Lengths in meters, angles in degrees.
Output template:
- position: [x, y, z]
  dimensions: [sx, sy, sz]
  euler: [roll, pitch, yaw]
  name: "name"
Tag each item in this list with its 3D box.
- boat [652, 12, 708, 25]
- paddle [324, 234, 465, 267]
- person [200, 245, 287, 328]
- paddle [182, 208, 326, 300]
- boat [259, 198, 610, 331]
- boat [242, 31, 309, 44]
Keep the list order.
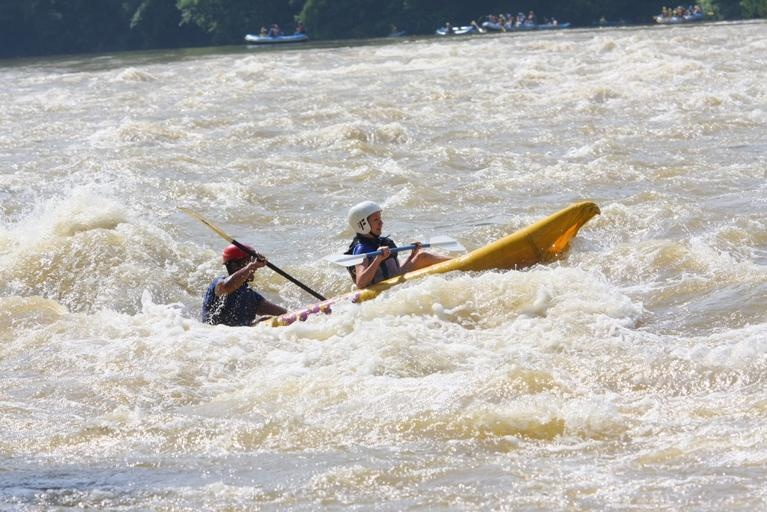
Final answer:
- position: [14.077, -11.648, 78.231]
  dimensions: [1.411, 0.692, 4.210]
  euler: [-2, 4, 21]
  name: "boat"
- position: [0.416, -0.176, 39.870]
  dimensions: [4.462, 0.140, 0.997]
  euler: [-7, 30, -18]
  name: "paddle"
- position: [-3.552, 0.700, 39.463]
  dimensions: [1.765, 1.960, 0.678]
  euler: [-9, 13, -21]
  name: "person"
- position: [-3.326, 0.020, 41.691]
  dimensions: [5.197, 0.494, 0.254]
  euler: [25, 31, -18]
  name: "paddle"
- position: [1.355, 0.311, 40.250]
  dimensions: [10.781, 2.651, 3.862]
  euler: [-12, -5, 26]
  name: "boat"
- position: [-5.319, -10.903, 80.664]
  dimensions: [3.029, 0.411, 1.710]
  euler: [-1, 9, 6]
  name: "boat"
